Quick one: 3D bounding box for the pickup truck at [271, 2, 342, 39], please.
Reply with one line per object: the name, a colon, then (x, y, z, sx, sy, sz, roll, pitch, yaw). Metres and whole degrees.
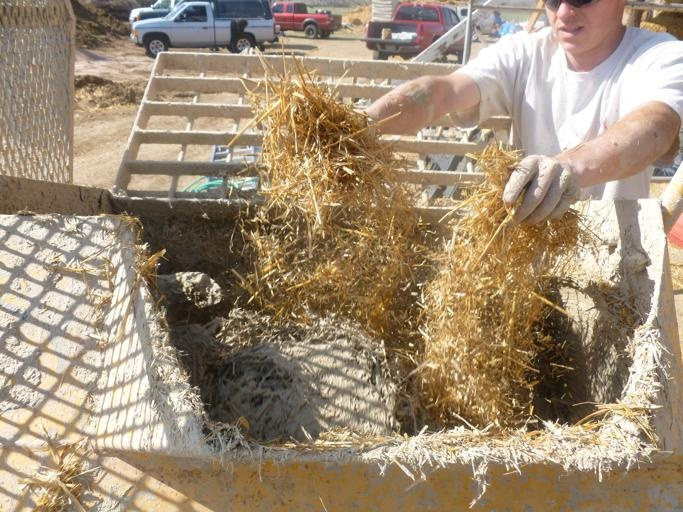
pickup truck: (-1.366, -8.402, 24.660, 2.554, 1.485, 1.158, -15, 43, -27)
